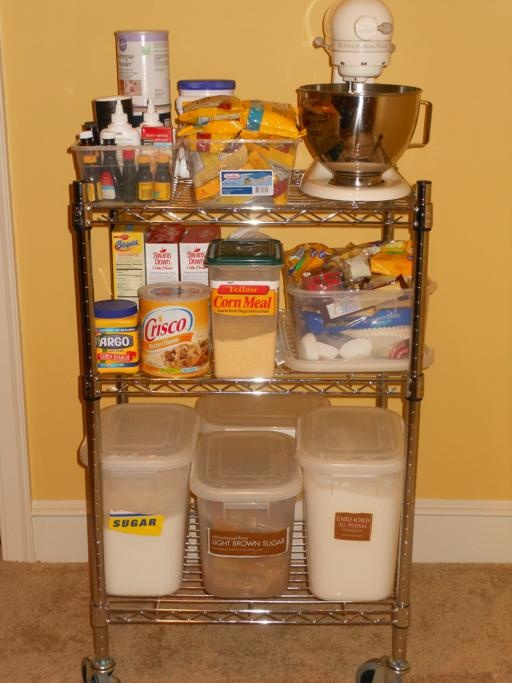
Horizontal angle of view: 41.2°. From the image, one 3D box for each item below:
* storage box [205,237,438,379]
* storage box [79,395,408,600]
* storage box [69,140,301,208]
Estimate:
[{"bbox_3d":[0.098,-0.072,1.275,0.407,0.214,0.205,-2,27,-2],"label":"storage box"},{"bbox_3d":[0.073,0.266,1.507,0.416,0.326,0.573,0,12,1],"label":"storage box"},{"bbox_3d":[-0.114,-0.287,1.168,0.280,0.073,0.162,-1,17,0],"label":"storage box"}]
